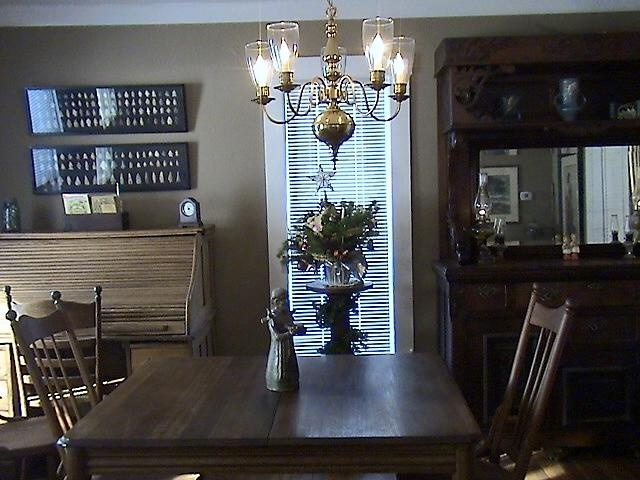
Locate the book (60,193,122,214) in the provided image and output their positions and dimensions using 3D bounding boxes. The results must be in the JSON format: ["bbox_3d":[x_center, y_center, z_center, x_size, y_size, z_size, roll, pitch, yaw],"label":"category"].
[{"bbox_3d":[-1.708,-0.265,4.437,0.308,0.182,0.128,-2,3,-10],"label":"book"}]

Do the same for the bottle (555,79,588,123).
[{"bbox_3d":[1.810,-1.030,4.338,0.190,0.308,0.225,2,11,30],"label":"bottle"}]

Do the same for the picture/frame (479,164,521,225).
[{"bbox_3d":[1.381,-0.349,4.619,0.307,0.481,0.016,0,26,23],"label":"picture/frame"}]

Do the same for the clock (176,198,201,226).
[{"bbox_3d":[-0.964,-0.208,4.439,0.152,0.206,0.174,-12,12,-39],"label":"clock"}]
